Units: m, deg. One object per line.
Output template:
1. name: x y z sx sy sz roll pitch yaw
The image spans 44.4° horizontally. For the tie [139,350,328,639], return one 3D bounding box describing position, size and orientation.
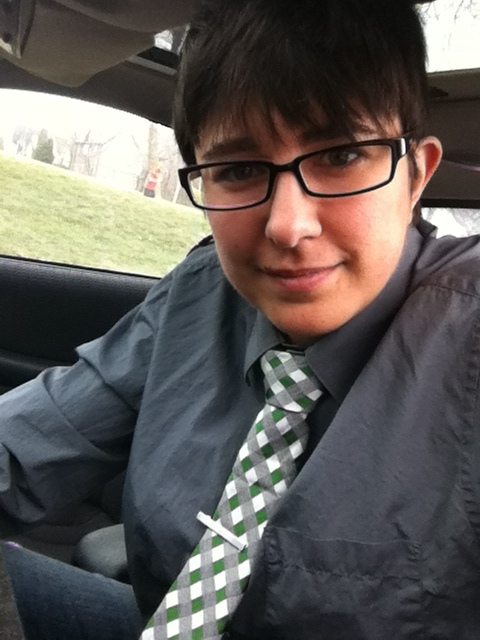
1. tie: 0.080 0.238 0.995 0.185 0.590 0.057 5 -42 42
